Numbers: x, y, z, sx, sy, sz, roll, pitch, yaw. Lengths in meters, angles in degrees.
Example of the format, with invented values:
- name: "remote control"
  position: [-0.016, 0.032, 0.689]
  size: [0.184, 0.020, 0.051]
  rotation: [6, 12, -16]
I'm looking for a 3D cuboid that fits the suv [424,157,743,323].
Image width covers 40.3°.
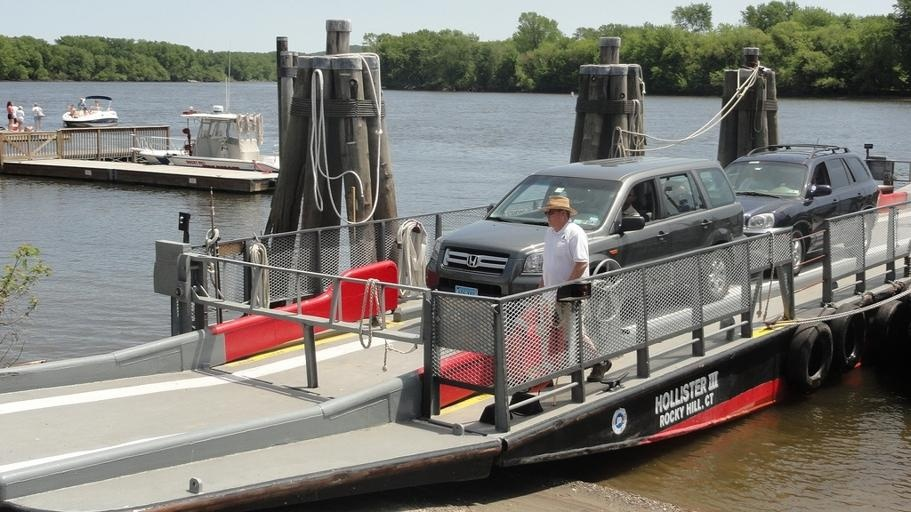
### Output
- name: "suv"
  position: [2.983, -0.683, 27.385]
  size: [5.876, 2.190, 3.148]
  rotation: [-3, 4, -39]

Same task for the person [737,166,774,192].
- name: "person"
  position: [7.396, -1.922, 30.994]
  size: [0.551, 0.348, 0.867]
  rotation: [10, 28, 27]

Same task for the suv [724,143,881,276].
- name: "suv"
  position: [8.450, -1.632, 30.939]
  size: [4.453, 1.958, 2.113]
  rotation: [-10, 14, -37]

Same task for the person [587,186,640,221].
- name: "person"
  position: [3.516, -1.056, 27.061]
  size: [1.112, 0.748, 0.511]
  rotation: [0, -5, 12]

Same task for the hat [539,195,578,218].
- name: "hat"
  position: [2.216, -1.021, 25.209]
  size: [0.537, 0.214, 0.611]
  rotation: [-1, -6, 34]

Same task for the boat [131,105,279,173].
- name: "boat"
  position: [-11.406, -5.045, 56.153]
  size: [9.573, 3.041, 3.626]
  rotation: [2, 8, 23]
